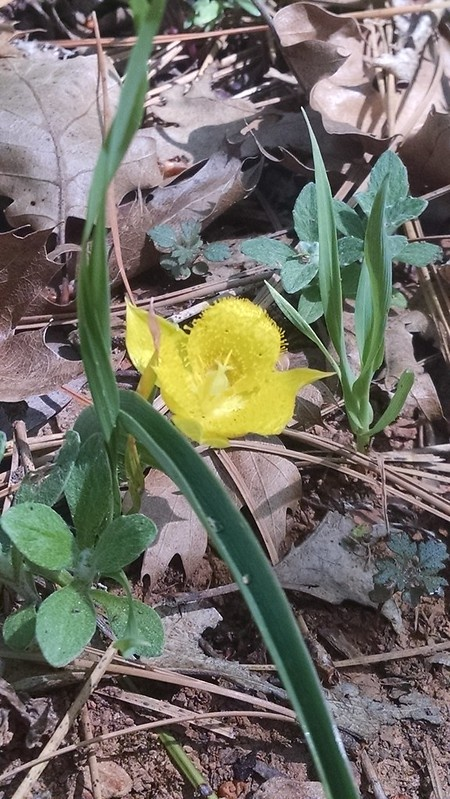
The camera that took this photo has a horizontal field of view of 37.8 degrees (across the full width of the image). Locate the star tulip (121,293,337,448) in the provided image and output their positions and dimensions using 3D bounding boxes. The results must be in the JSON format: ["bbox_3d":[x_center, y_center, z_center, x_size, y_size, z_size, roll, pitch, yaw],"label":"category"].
[{"bbox_3d":[-0.009,-0.052,1.189,0.304,0.124,0.308,18,40,-22],"label":"star tulip"}]
